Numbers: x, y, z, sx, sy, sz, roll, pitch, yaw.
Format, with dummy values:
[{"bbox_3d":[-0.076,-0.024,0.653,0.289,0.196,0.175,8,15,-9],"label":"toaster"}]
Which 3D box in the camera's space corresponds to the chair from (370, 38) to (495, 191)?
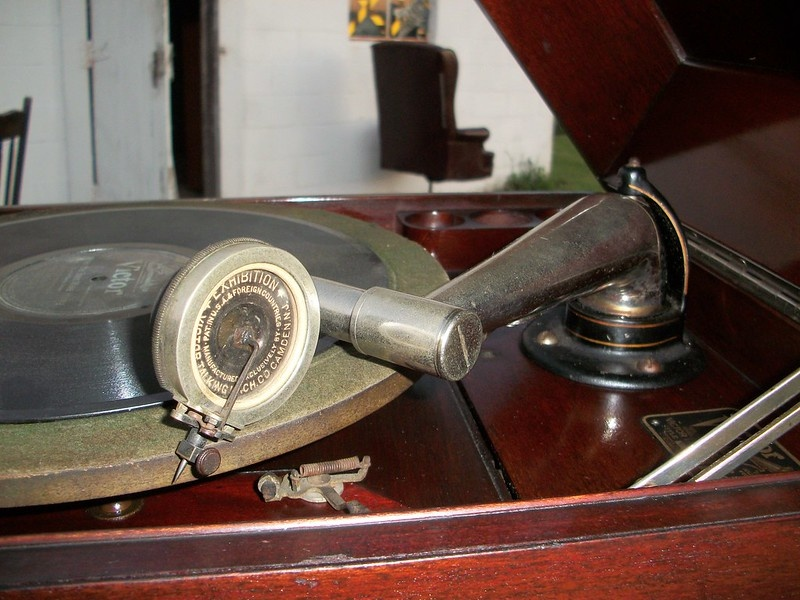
[{"bbox_3d":[0.063,-0.366,1.415,0.193,0.261,0.206,-18,32,-33],"label":"chair"}]
